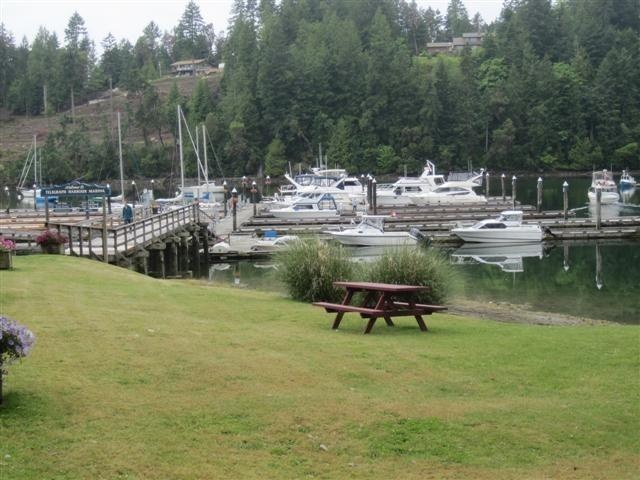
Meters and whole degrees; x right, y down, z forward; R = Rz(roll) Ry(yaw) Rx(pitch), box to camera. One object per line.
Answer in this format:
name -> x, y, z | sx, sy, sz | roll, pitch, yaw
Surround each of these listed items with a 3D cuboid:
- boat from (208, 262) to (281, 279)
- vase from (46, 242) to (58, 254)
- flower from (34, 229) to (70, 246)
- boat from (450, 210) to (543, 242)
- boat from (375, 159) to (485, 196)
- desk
boat -> -3.695, 1.410, 44.055 | 2.978, 0.582, 4.766 | 0, 1, -7
vase -> -9.119, 0.258, 31.286 | 0.392, 0.370, 0.204 | 3, 10, 0
flower -> -9.083, -0.058, 31.561 | 0.723, 0.505, 0.762 | 1, -3, 21
boat -> 10.210, -0.712, 51.210 | 4.771, 1.735, 1.170 | 0, 2, -9
boat -> 9.904, -5.525, 80.208 | 7.600, 4.063, 24.114 | 1, 1, 8
desk -> 1.851, 1.713, 24.236 | 1.622, 0.840, 1.859 | 2, -2, -33
